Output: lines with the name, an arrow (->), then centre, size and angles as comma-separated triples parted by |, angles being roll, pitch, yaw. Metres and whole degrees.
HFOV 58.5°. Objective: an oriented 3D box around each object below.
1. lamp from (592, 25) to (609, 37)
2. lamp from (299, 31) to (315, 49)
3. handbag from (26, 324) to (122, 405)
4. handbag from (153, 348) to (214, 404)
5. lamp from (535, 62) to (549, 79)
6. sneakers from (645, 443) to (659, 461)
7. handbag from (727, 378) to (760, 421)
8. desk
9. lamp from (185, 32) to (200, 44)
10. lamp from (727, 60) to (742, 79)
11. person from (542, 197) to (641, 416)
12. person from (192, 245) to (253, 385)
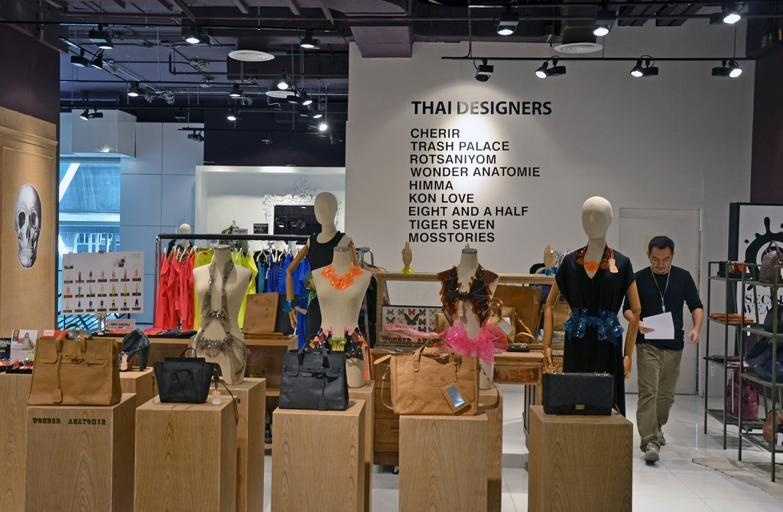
lamp -> 2.504, -2.730, 8.428 | 0.172, 0.121, 0.250 | 1, -1, 13
lamp -> -1.120, -2.918, 9.464 | 0.196, 0.226, 0.267 | 1, -1, 10
handbag -> -2.757, 0.985, 6.123 | 0.667, 0.608, 0.322 | 3, 2, -14
handbag -> -1.787, 1.058, 6.084 | 0.439, 0.409, 0.177 | 1, 2, 2
lamp -> 2.067, -2.588, 9.668 | 0.144, 0.204, 0.223 | 1, -1, 12
sneakers -> 2.918, 2.221, 7.891 | 0.167, 0.200, 0.114 | 1, 0, 9
handbag -> 4.288, 1.732, 8.649 | 0.254, 0.532, 0.531 | 4, 6, 0
desk -> 0.530, 1.400, 6.420 | 1.366, 1.280, 0.552 | 0, -3, -1
lamp -> -2.657, -2.910, 9.385 | 0.194, 0.128, 0.350 | 1, -1, -13
lamp -> 4.560, -2.532, 9.381 | 0.155, 0.230, 0.313 | 1, -1, 25
person -> 1.886, 0.449, 6.666 | 0.876, 1.823, 0.534 | 1, 0, 18
person -> -1.616, 0.545, 6.642 | 0.539, 1.338, 0.373 | 1, 0, -15
